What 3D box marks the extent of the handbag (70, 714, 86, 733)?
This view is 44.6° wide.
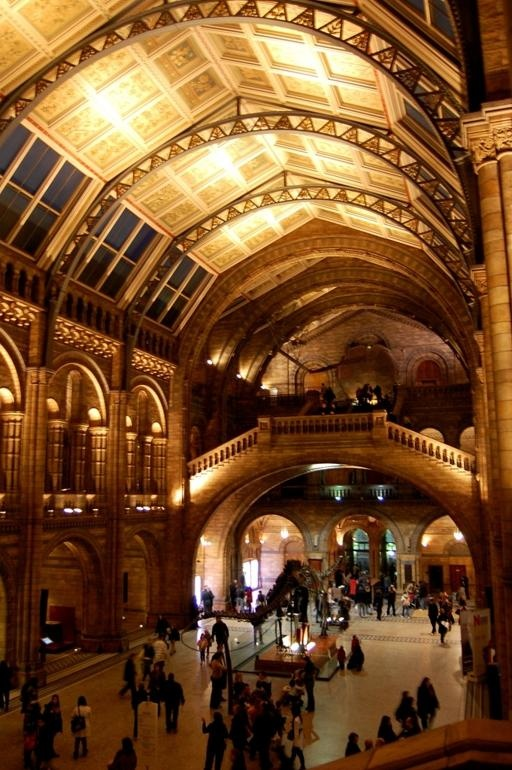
[{"bbox_3d":[-2.944,5.615,10.379,0.281,0.292,0.207,2,-38,-1],"label":"handbag"}]
